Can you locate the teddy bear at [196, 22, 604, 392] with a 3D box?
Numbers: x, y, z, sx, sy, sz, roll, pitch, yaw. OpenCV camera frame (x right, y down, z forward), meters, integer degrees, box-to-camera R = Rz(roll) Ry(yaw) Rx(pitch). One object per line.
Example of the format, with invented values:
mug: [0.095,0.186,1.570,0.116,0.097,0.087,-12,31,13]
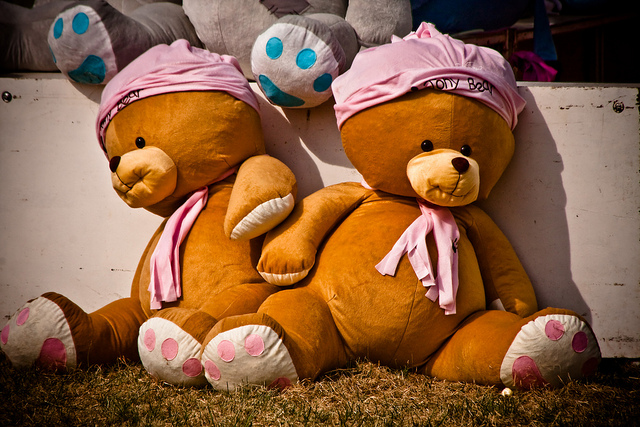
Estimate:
teddy bear: [0.416,-0.028,4.165,1.821,1.843,1.499,6,12,-4]
